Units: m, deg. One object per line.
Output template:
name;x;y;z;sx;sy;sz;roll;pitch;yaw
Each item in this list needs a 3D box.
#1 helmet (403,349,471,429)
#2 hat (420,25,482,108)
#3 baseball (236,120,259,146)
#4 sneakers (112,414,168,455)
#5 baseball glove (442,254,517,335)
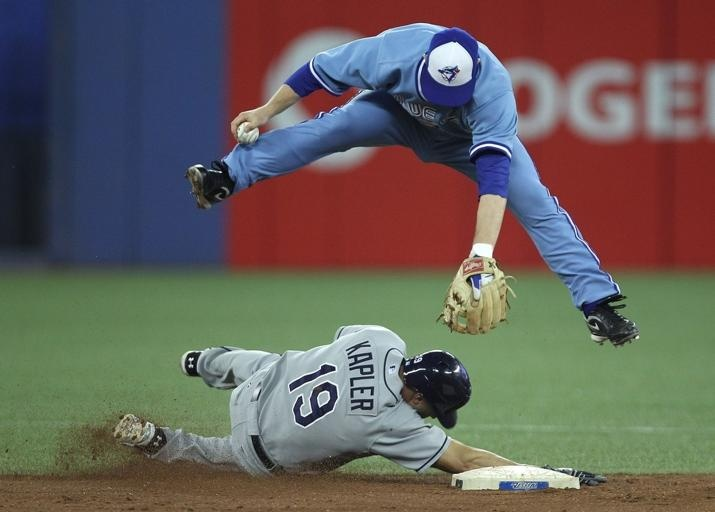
helmet;0.597;0.942;7.985;0.420;0.581;0.390;-10;14;10
hat;0.682;-1.384;7.998;0.398;0.572;0.230;9;3;0
baseball;-0.861;-0.962;8.443;0.151;0.152;0.157;-7;50;-50
sneakers;-1.630;1.321;8.172;0.367;0.272;0.141;28;-4;-23
baseball glove;0.868;0.270;8.079;0.572;0.624;0.431;17;4;-5
